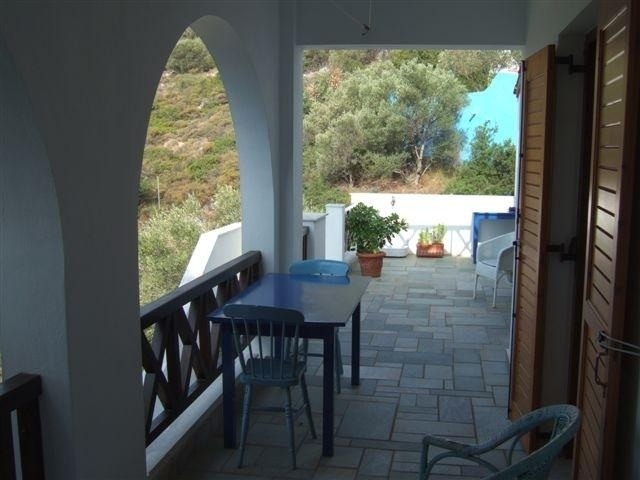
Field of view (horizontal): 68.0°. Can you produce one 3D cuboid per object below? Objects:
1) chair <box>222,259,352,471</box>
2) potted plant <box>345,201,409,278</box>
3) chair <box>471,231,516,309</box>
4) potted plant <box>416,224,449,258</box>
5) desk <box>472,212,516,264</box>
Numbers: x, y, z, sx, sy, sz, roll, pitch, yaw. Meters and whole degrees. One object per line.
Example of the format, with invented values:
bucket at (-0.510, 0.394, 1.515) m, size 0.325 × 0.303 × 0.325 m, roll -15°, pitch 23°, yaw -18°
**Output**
chair at (-0.166, 0.826, 3.934) m, size 0.635 × 1.238 × 1.785 m, roll 1°, pitch 3°, yaw 10°
potted plant at (1.055, 0.032, 8.689) m, size 0.804 × 1.152 × 0.710 m, roll 3°, pitch 10°, yaw 27°
chair at (2.571, 0.367, 6.762) m, size 0.554 × 0.932 × 0.657 m, roll 2°, pitch 6°, yaw -13°
potted plant at (2.415, -0.001, 10.335) m, size 0.650 × 0.666 × 0.528 m, roll 1°, pitch 10°, yaw 8°
desk at (3.423, -0.022, 9.398) m, size 0.721 × 1.081 × 1.041 m, roll 6°, pitch 0°, yaw 18°
